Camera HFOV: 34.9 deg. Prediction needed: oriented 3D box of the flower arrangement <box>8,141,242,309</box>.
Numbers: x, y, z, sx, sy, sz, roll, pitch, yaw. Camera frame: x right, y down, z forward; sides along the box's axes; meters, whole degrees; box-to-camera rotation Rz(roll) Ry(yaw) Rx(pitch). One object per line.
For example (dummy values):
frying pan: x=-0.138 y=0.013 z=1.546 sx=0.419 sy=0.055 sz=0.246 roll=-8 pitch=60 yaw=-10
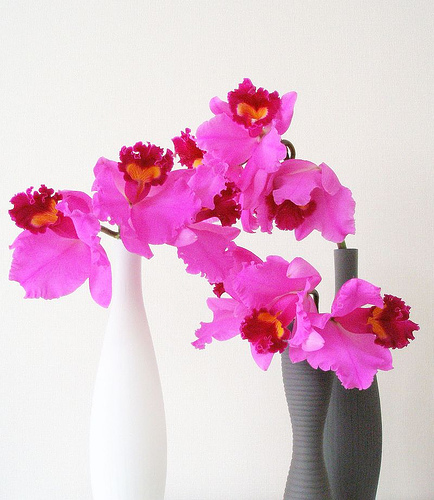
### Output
flower arrangement: x=-0.107 y=0.013 z=0.835 sx=0.230 sy=0.197 sz=0.143 roll=-10 pitch=-39 yaw=-7
